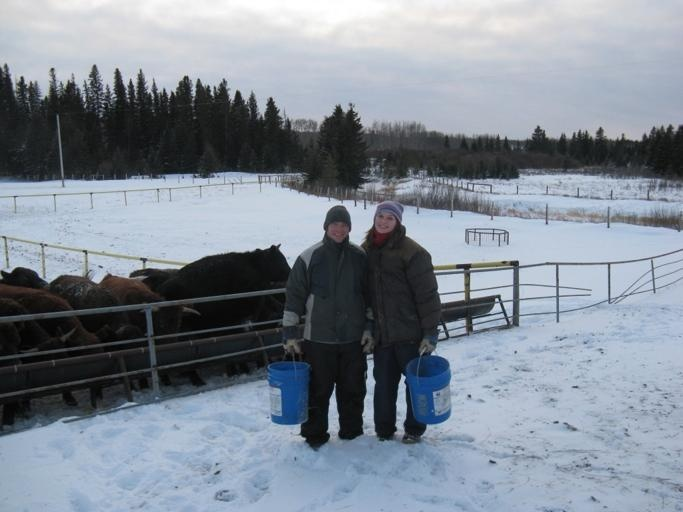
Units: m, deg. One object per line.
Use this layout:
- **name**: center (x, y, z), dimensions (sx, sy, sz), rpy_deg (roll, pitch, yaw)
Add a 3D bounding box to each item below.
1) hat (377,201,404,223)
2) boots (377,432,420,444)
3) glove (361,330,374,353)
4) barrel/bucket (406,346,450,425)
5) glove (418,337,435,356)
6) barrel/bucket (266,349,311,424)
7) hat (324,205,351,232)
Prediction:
- **hat**: center (0.546, -0.503, 7.084), dimensions (0.263, 0.223, 0.202), rpy_deg (19, 8, 26)
- **boots**: center (0.607, 1.931, 6.945), dimensions (0.471, 0.094, 0.145), rpy_deg (-1, 4, 4)
- **glove**: center (0.273, 0.915, 7.055), dimensions (0.161, 0.227, 0.078), rpy_deg (23, -1, -17)
- **barrel/bucket**: center (0.911, 1.466, 6.879), dimensions (0.467, 0.807, 0.421), rpy_deg (-5, 6, -38)
- **glove**: center (0.903, 0.962, 6.903), dimensions (0.130, 0.190, 0.072), rpy_deg (10, 2, 10)
- **barrel/bucket**: center (-0.575, 1.410, 6.991), dimensions (0.466, 0.734, 0.521), rpy_deg (-3, -2, 18)
- **hat**: center (-0.058, -0.403, 7.056), dimensions (0.234, 0.245, 0.270), rpy_deg (3, -4, -12)
